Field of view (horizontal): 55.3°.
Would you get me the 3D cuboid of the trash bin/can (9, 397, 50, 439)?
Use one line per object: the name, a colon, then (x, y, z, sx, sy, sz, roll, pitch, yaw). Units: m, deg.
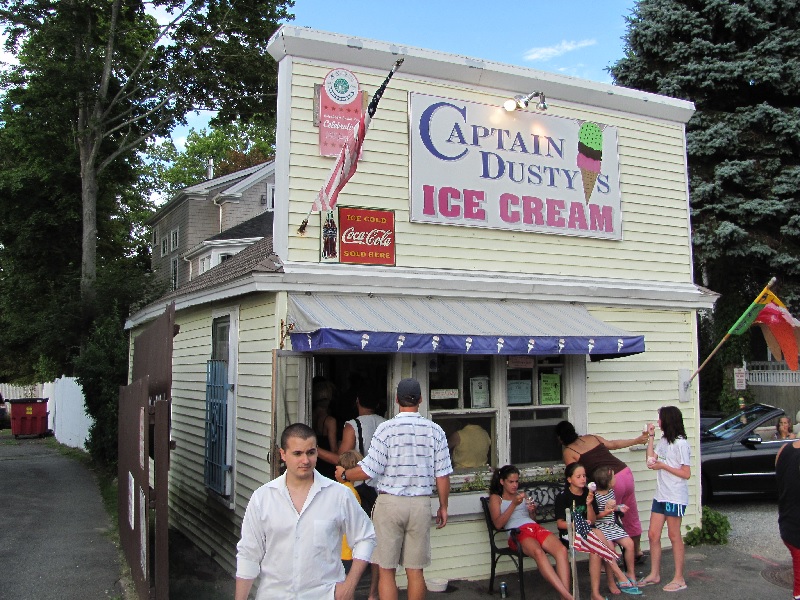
trash bin/can: (-14.042, 4.475, 28.802, 1.108, 1.480, 1.660, -5, -9, 35)

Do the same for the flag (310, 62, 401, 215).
flag: (-0.605, -2.374, 10.782, 1.263, 2.353, 1.215, 4, -8, -30)

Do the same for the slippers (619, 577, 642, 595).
slippers: (3.213, 4.035, 10.739, 0.155, 0.106, 0.308, 2, -10, -20)

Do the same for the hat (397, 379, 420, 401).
hat: (0.098, 1.122, 9.430, 0.238, 0.192, 0.402, 9, 5, 2)

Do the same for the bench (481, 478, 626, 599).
bench: (2.351, 3.399, 11.298, 1.375, 2.625, 1.635, 6, -13, -29)
